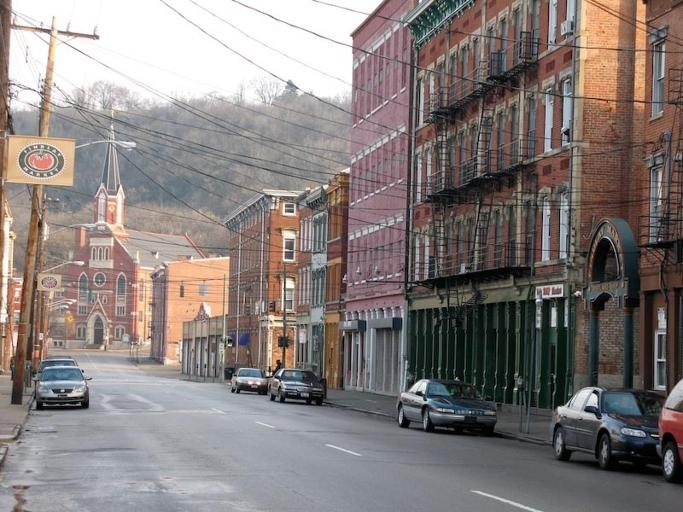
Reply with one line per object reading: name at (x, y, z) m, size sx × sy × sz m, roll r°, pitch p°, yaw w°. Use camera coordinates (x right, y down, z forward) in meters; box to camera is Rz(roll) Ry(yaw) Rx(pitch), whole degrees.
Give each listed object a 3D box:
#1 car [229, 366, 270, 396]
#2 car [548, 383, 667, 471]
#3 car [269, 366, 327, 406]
car at (-5.098, 6.920, 65.996) m, size 1.890 × 1.565 × 2.348 m, roll -3°, pitch -11°, yaw 23°
car at (6.926, 4.248, 29.499) m, size 1.457 × 2.052 × 3.602 m, roll 5°, pitch -10°, yaw -20°
car at (-2.157, 6.137, 56.109) m, size 1.841 × 1.749 × 2.883 m, roll 8°, pitch -12°, yaw -33°
